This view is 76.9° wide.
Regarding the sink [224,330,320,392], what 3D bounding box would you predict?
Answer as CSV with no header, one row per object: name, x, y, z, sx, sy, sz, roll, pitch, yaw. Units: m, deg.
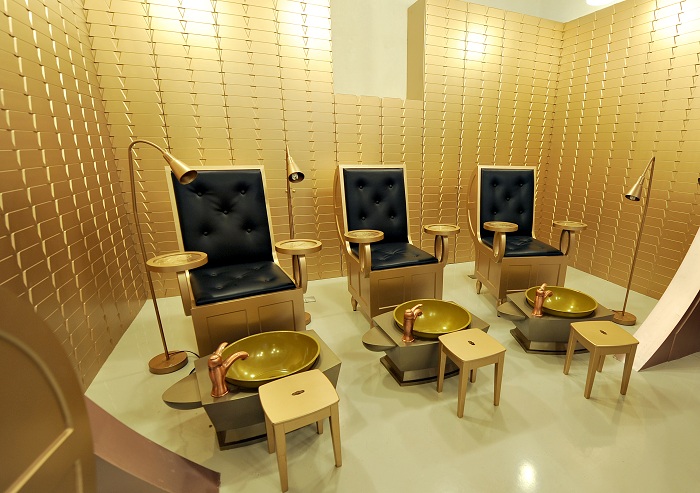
sink,-0.537,0.758,2.993,0.428,0.114,0.394,-7,24,-11

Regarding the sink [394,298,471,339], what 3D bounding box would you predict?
sink,0.780,0.614,3.705,0.771,0.245,0.765,10,-10,-17

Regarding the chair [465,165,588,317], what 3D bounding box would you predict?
chair,1.618,-0.122,4.255,0.771,1.260,0.801,-6,21,-3

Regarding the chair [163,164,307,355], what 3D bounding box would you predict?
chair,-0.955,0.124,3.487,1.260,1.505,1.077,-9,23,-20

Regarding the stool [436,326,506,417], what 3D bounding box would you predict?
stool,0.892,0.874,3.126,0.478,0.484,0.328,-11,22,-17

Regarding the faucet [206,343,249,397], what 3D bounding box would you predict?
faucet,-0.831,0.759,2.801,0.263,0.256,0.257,14,27,40

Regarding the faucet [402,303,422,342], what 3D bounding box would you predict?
faucet,0.479,0.527,3.294,0.132,0.229,0.400,0,20,11

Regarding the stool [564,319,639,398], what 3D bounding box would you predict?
stool,1.839,0.825,3.227,0.348,0.422,0.375,1,15,4

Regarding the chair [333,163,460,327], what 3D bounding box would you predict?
chair,0.391,-0.064,4.020,0.928,1.332,0.848,-8,21,-9

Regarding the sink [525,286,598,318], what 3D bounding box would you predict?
sink,1.777,0.449,3.560,0.325,0.083,0.326,13,28,31

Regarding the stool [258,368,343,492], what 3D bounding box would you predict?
stool,-0.314,1.147,2.726,0.482,0.576,0.417,-13,30,-20

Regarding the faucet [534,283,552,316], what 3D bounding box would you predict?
faucet,1.567,0.402,3.525,0.123,0.209,0.359,6,22,25
